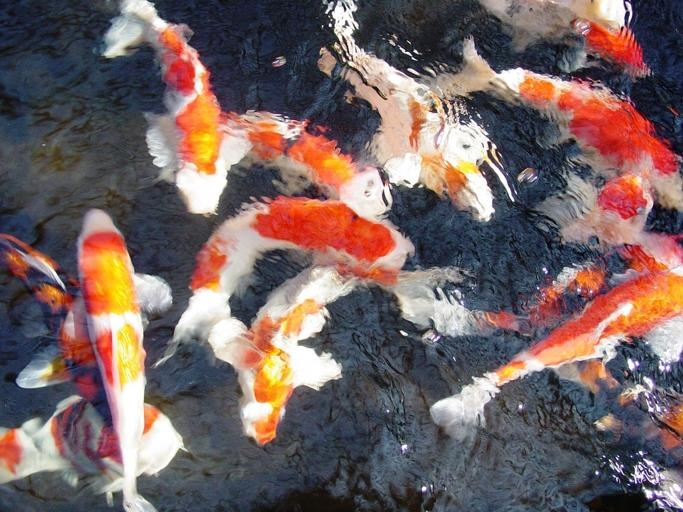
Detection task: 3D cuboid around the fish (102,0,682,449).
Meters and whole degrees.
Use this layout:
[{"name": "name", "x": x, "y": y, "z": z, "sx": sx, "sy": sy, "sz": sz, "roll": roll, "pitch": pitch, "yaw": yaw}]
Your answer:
[{"name": "fish", "x": 0.133, "y": -0.378, "z": 2.721, "sx": 1.519, "sy": 0.179, "sz": 0.780, "roll": -2, "pitch": 75, "yaw": -9}]
